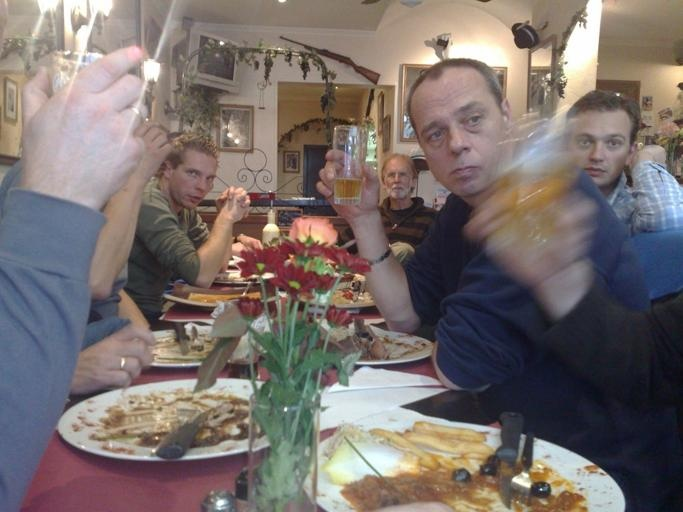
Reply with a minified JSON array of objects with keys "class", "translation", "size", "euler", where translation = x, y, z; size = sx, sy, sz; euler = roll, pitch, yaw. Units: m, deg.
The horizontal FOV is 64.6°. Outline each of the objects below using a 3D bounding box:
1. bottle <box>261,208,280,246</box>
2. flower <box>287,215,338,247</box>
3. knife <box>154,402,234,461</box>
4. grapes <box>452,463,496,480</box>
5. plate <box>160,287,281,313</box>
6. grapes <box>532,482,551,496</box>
[{"class":"bottle","translation":[-0.454,-0.165,3.501],"size":[0.106,0.298,0.110],"euler":[1,5,0]},{"class":"flower","translation":[-0.034,-0.044,0.752],"size":[0.046,0.023,0.045],"euler":[12,14,-11]},{"class":"knife","translation":[-0.244,0.296,0.898],"size":[0.032,0.025,0.142],"euler":[3,9,11]},{"class":"grapes","translation":[0.208,0.340,0.844],"size":[0.052,0.020,0.026],"euler":[-10,36,-9]},{"class":"plate","translation":[-0.348,0.121,1.505],"size":[0.222,0.049,0.162],"euler":[2,4,1]},{"class":"grapes","translation":[0.298,0.350,0.807],"size":[0.030,0.013,0.018],"euler":[5,4,12]}]
